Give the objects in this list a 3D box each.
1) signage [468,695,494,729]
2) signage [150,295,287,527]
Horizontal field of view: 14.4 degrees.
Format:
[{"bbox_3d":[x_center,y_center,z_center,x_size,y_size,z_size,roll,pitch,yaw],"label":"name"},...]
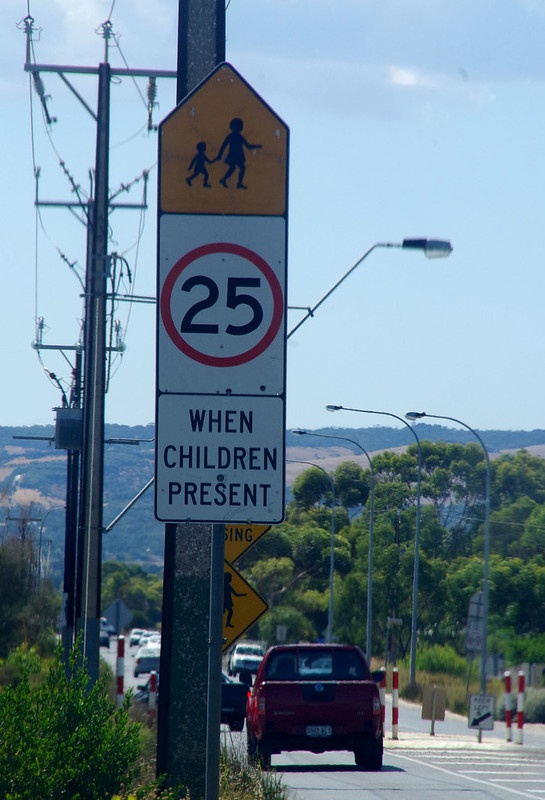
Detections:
[{"bbox_3d":[3.102,4.612,32.371,0.398,0.824,0.068,-2,-11,23],"label":"signage"},{"bbox_3d":[-0.423,0.228,17.921,1.085,1.673,0.126,0,15,-12],"label":"signage"}]
